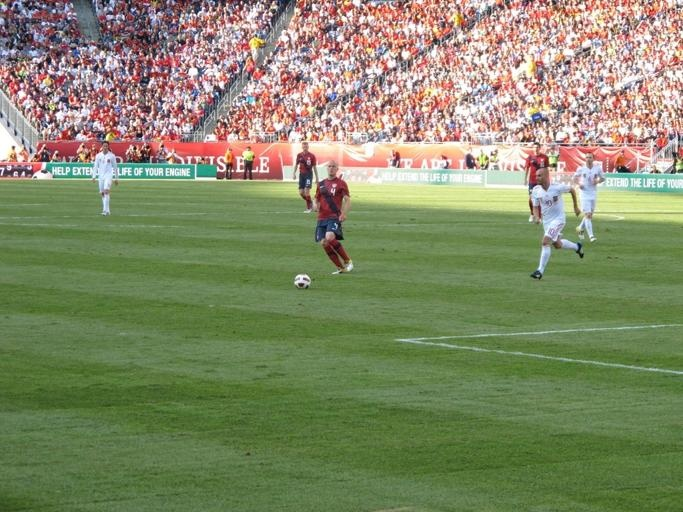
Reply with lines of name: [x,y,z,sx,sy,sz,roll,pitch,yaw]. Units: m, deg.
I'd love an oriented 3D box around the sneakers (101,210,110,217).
sneakers: [-5.779,-1.025,32.908,0.196,0.084,0.253,-1,0,-2]

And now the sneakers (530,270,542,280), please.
sneakers: [3.186,0.321,21.831,0.095,0.119,0.260,-5,-12,38]

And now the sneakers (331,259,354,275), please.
sneakers: [-0.006,0.223,22.464,0.489,0.182,0.151,-8,-1,-11]

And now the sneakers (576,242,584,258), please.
sneakers: [4.289,-0.086,24.120,0.124,0.254,0.097,-19,17,7]

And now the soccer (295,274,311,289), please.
soccer: [-0.616,0.401,20.738,0.240,0.204,0.226,-3,-16,14]
